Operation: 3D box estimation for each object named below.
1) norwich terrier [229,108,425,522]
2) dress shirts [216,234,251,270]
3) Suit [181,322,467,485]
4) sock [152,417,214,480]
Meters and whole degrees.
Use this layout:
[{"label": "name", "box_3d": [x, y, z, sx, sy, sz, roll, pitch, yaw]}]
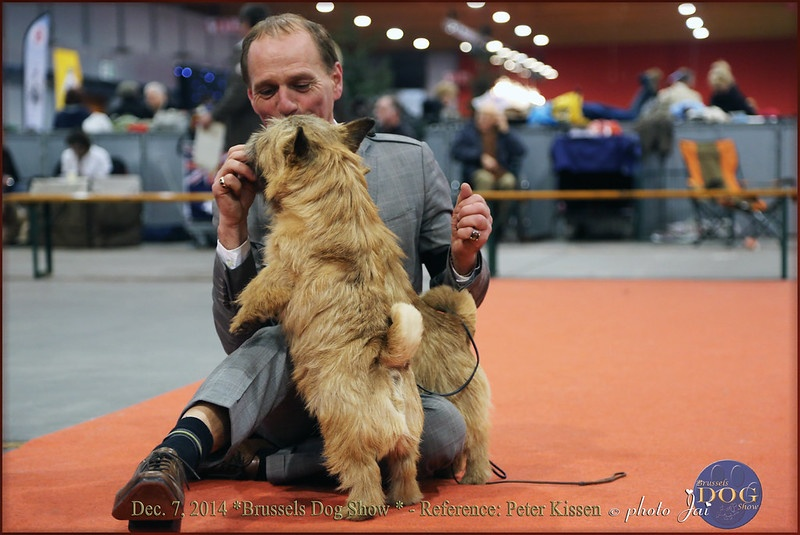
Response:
[{"label": "norwich terrier", "box_3d": [-0.313, 0.172, 9.702, 2.129, 3.108, 1.722, -10, 17, -33]}, {"label": "dress shirts", "box_3d": [-1.383, -0.134, 9.476, 0.252, 0.196, 0.232, 9, -8, -41]}, {"label": "Suit", "box_3d": [-0.607, 1.356, 9.988, 1.845, 1.506, 2.458, 0, 9, -25]}, {"label": "sock", "box_3d": [-1.788, 1.472, 9.549, 0.653, 0.482, 0.466, -1, 7, -24]}]
